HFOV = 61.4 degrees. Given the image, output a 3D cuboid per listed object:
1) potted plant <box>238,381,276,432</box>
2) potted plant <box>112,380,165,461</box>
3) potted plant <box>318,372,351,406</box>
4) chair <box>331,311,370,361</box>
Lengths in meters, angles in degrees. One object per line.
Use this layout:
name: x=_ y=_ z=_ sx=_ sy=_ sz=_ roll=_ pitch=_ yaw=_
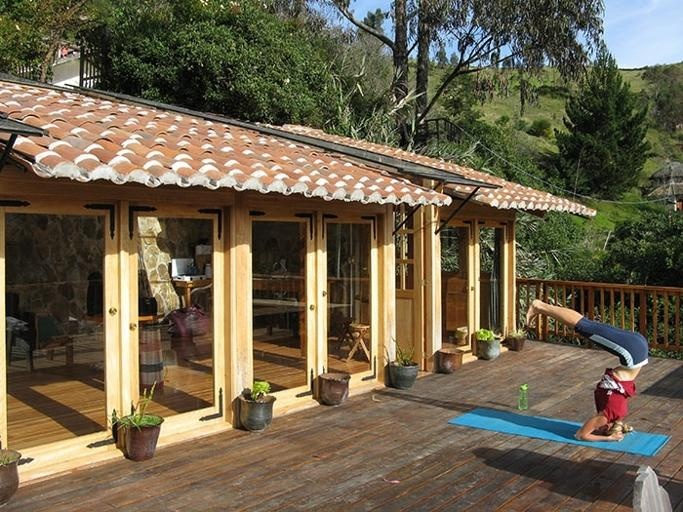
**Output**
potted plant: x=-1.045 y=1.936 z=7.648 sx=0.579 sy=0.657 sz=0.561 roll=-1 pitch=0 yaw=11
potted plant: x=-2.366 y=1.960 z=6.753 sx=0.552 sy=0.698 sz=0.614 roll=-5 pitch=9 yaw=-39
potted plant: x=-0.119 y=1.933 z=8.402 sx=0.409 sy=0.351 sz=0.455 roll=0 pitch=-4 yaw=4
chair: x=0.001 y=1.285 z=9.238 sx=0.694 sy=0.852 sz=0.675 roll=-6 pitch=-7 yaw=25
